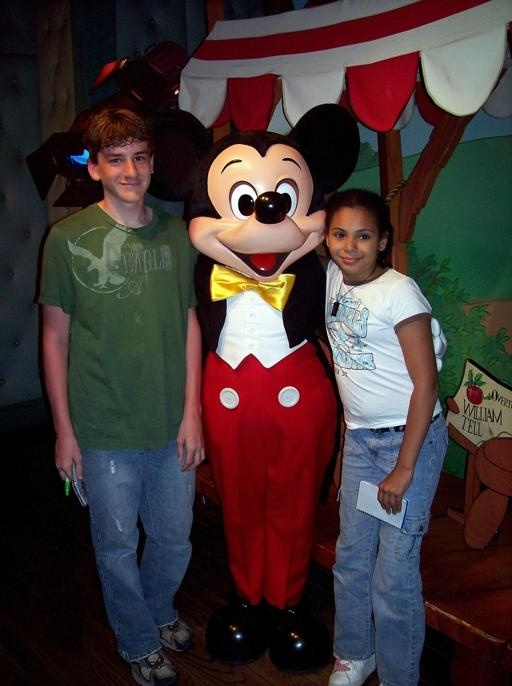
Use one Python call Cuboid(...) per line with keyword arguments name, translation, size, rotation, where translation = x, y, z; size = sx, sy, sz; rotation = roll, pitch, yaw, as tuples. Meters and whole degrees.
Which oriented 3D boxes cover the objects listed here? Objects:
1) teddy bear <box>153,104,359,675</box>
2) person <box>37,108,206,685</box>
Cuboid(name="teddy bear", translation=(0.014, 0.116, 1.389), size=(0.547, 1.386, 0.423), rotation=(0, 5, 7))
Cuboid(name="person", translation=(-0.313, 0.193, 1.345), size=(0.398, 1.463, 0.274), rotation=(-6, 14, -6))
